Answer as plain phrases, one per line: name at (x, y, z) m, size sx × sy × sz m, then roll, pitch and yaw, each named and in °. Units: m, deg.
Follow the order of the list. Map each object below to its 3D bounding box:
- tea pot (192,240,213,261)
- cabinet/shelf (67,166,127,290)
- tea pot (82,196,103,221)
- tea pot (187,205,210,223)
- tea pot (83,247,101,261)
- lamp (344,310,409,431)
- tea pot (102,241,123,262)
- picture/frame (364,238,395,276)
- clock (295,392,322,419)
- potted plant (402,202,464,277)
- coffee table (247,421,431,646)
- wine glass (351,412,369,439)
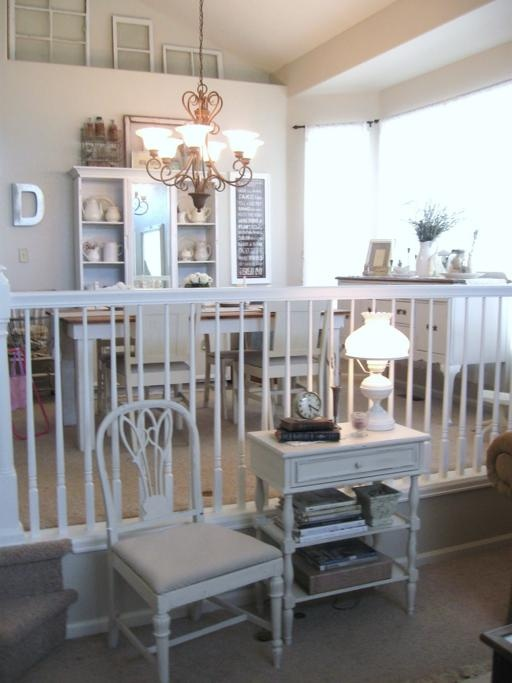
tea pot at (-0.510, -0.871, 5.574) m, size 0.171 × 0.196 × 0.250 m, roll -1°, pitch 11°, yaw -19°
cabinet/shelf at (-1.351, -0.959, 5.129) m, size 0.363 × 1.000 × 0.155 m, roll -2°, pitch 29°, yaw -16°
tea pot at (-1.406, -1.137, 5.044) m, size 0.180 × 0.196 × 0.172 m, roll 3°, pitch 11°, yaw -1°
tea pot at (-0.542, -1.189, 5.471) m, size 0.187 × 0.140 × 0.145 m, roll 1°, pitch 0°, yaw 0°
tea pot at (-1.407, -0.751, 5.022) m, size 0.140 × 0.135 × 0.097 m, roll -6°, pitch 17°, yaw -26°
lamp at (0.460, 0.106, 2.237) m, size 0.238 × 0.451 × 0.463 m, roll 5°, pitch 11°, yaw 14°
tea pot at (-1.257, -0.782, 5.123) m, size 0.177 × 0.171 × 0.210 m, roll -1°, pitch 11°, yaw -20°
picture/frame at (1.018, -0.703, 4.882) m, size 0.156 × 0.299 × 0.373 m, roll -1°, pitch 11°, yaw -18°
clock at (0.174, 0.217, 1.965) m, size 0.085 × 0.084 × 0.029 m, roll 7°, pitch -12°, yaw -33°
potted plant at (1.374, -0.754, 4.466) m, size 0.338 × 0.496 × 0.318 m, roll 8°, pitch 5°, yaw 26°
coffee table at (0.290, 0.638, 2.096) m, size 0.536 × 0.642 × 0.352 m, roll -2°, pitch 5°, yaw -17°
wine glass at (0.351, 0.298, 2.049) m, size 0.069 × 0.077 × 0.067 m, roll 1°, pitch 2°, yaw -8°
